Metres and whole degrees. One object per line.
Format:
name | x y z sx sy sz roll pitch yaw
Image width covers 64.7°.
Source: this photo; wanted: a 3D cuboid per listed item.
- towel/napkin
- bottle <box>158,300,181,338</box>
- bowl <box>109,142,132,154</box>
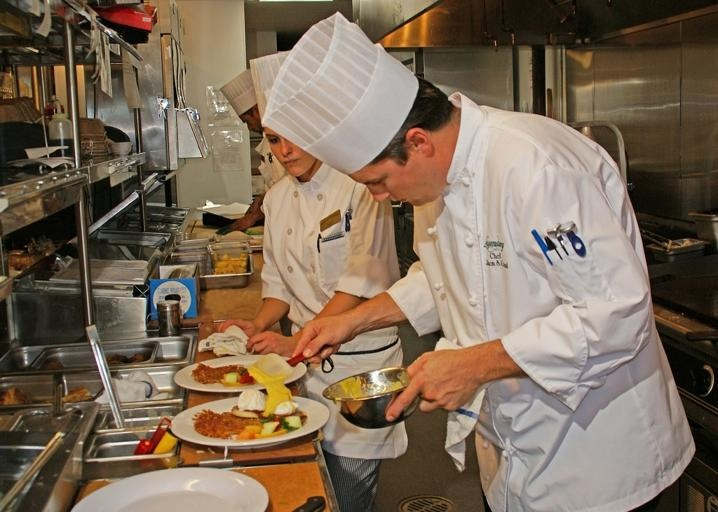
towel/napkin | 0.343 0.451 1.638 0.084 0.334 0.205 6 -20 -28
bottle | -0.799 0.264 2.377 0.140 0.151 0.089 -5 11 -24
bowl | -1.146 -0.518 2.720 0.072 0.046 0.076 2 5 0
